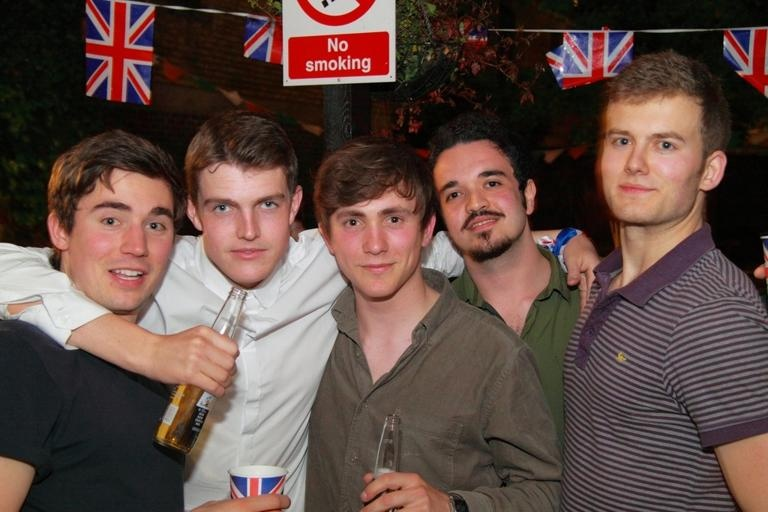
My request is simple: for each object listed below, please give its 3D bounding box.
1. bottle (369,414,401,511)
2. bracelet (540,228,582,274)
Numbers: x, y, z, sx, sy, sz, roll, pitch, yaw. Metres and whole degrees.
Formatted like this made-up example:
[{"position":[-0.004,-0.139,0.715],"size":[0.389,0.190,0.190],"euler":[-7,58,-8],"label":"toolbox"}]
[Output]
[{"position":[0.012,0.987,3.360],"size":[0.117,0.473,0.124],"euler":[-1,9,0],"label":"bottle"},{"position":[1.180,-0.091,4.702],"size":[0.243,0.136,0.322],"euler":[31,43,-8],"label":"bracelet"}]
